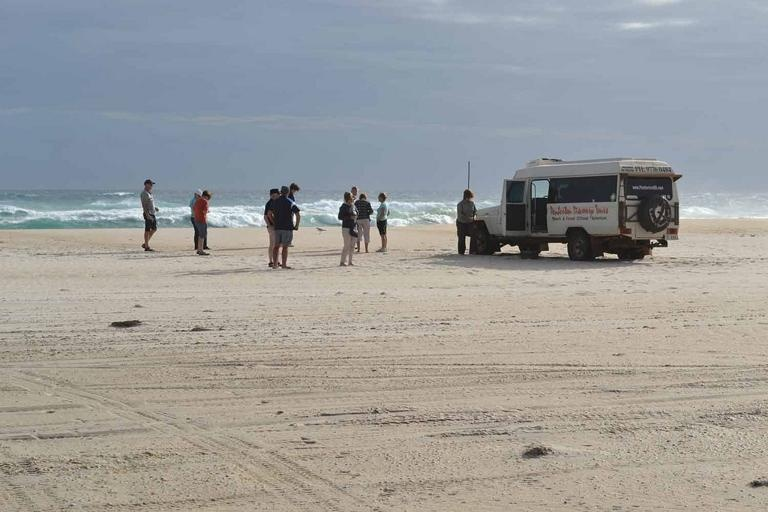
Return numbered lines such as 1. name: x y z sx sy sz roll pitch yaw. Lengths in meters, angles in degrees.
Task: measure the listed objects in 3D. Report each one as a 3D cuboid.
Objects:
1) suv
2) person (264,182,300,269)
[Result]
1. suv: 4.749 -1.139 25.998 3.405 1.767 4.698 -3 6 -34
2. person: -2.179 -0.649 23.465 0.607 1.769 1.068 2 3 -5
